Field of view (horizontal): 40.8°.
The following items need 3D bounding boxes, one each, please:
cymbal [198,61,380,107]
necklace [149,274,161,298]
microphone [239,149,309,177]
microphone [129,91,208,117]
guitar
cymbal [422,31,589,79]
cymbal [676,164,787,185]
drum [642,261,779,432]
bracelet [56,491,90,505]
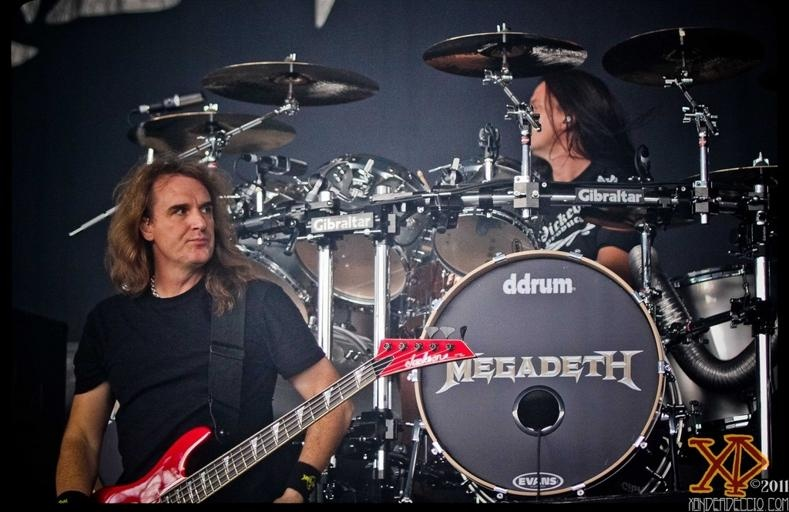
[{"bbox_3d":[-0.705,-1.170,7.311,1.057,0.132,0.929,8,25,3],"label":"cymbal"},{"bbox_3d":[-1.521,0.209,6.774,0.100,0.111,0.031,-6,7,26],"label":"necklace"},{"bbox_3d":[-0.813,-0.641,7.522,0.567,0.147,0.170,3,-6,-28],"label":"microphone"},{"bbox_3d":[-1.586,-1.060,7.461,0.679,0.124,0.119,-6,33,21],"label":"microphone"},{"bbox_3d":[-0.701,1.010,6.624,1.434,0.377,0.179,-26,-14,1],"label":"guitar"},{"bbox_3d":[0.769,-1.350,7.159,0.606,0.115,0.535,2,-15,-3],"label":"cymbal"},{"bbox_3d":[2.278,-0.529,7.222,0.639,0.122,0.586,0,13,13],"label":"cymbal"},{"bbox_3d":[2.114,0.603,7.215,0.879,1.080,0.517,1,16,16],"label":"drum"},{"bbox_3d":[-1.951,1.489,6.518,0.204,0.096,0.059,1,16,16],"label":"bracelet"}]
